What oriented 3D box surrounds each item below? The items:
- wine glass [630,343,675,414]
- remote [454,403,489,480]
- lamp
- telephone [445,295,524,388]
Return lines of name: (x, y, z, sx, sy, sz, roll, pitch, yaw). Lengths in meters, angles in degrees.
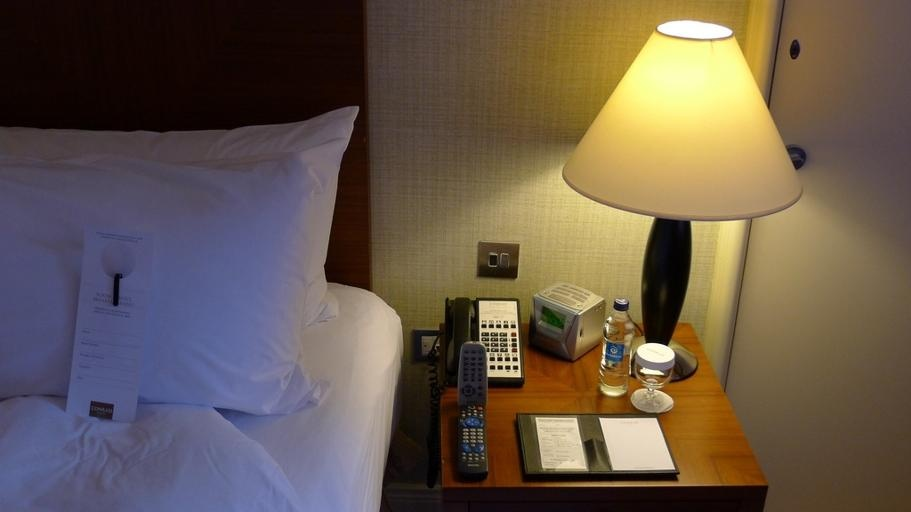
wine glass: (0.643, 0.394, 2.075, 0.151, 0.172, 0.151, 1, 11, -9)
remote: (0.054, 0.571, 1.967, 0.097, 0.190, 0.154, 0, 3, 0)
lamp: (0.697, -0.165, 2.010, 0.700, 1.136, 0.317, 0, 3, 9)
telephone: (0.105, 0.279, 2.206, 0.246, 0.286, 0.115, 1, -35, 0)
